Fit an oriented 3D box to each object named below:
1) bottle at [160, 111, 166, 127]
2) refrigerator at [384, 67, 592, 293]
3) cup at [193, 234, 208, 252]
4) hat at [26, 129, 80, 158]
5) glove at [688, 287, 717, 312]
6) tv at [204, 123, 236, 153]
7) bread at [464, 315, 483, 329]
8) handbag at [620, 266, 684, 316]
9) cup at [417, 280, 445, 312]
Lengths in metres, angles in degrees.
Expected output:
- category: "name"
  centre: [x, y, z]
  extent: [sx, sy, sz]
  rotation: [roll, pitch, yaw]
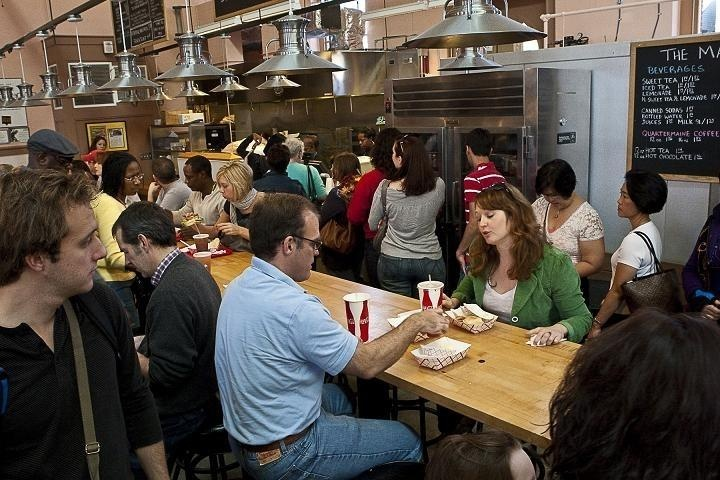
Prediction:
- category: "bottle"
  centre: [-4.031, -2.499, 9.608]
  extent: [0.105, 0.267, 0.390]
  rotation: [-9, 13, -25]
- category: "refrigerator"
  centre: [1.054, -0.862, 4.865]
  extent: [1.420, 1.683, 0.721]
  rotation: [9, 37, 27]
- category: "cup"
  centre: [-1.268, 0.019, 3.800]
  extent: [0.126, 0.114, 0.127]
  rotation: [-4, 5, 0]
- category: "hat"
  centre: [-2.415, -0.763, 3.686]
  extent: [0.287, 0.134, 0.233]
  rotation: [-9, 30, -37]
- category: "glove"
  centre: [2.227, 0.375, 3.105]
  extent: [0.139, 0.085, 0.196]
  rotation: [-18, 7, -9]
- category: "tv"
  centre: [-2.373, -1.738, 8.217]
  extent: [0.597, 0.440, 0.819]
  rotation: [0, 0, -3]
- category: "bread"
  centre: [0.625, 0.438, 2.573]
  extent: [0.051, 0.026, 0.065]
  rotation: [-10, 12, -41]
- category: "handbag"
  centre: [1.716, 0.285, 2.768]
  extent: [0.276, 0.245, 0.130]
  rotation: [-11, 15, -12]
- category: "cup"
  centre: [0.398, 0.302, 2.595]
  extent: [0.140, 0.118, 0.148]
  rotation: [-1, 0, 0]
